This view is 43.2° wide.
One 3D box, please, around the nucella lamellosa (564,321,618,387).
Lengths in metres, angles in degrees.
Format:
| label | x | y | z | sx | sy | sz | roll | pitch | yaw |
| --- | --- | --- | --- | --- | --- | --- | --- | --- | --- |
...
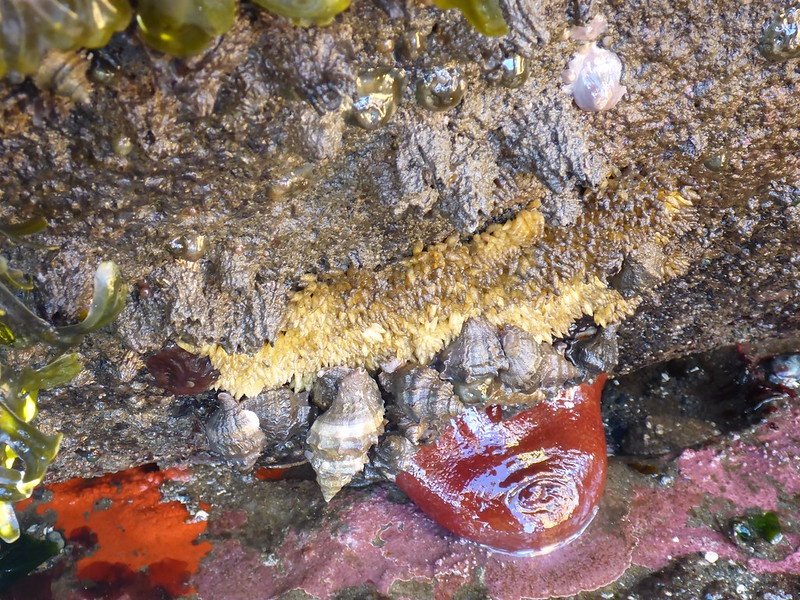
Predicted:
| label | x | y | z | sx | sy | sz | roll | pitch | yaw |
| --- | --- | --- | --- | --- | --- | --- | --- | --- | --- |
| nucella lamellosa | 1.238 | 0.317 | 6.548 | 0.305 | 0.151 | 0.378 | 27 | -67 | -13 |
